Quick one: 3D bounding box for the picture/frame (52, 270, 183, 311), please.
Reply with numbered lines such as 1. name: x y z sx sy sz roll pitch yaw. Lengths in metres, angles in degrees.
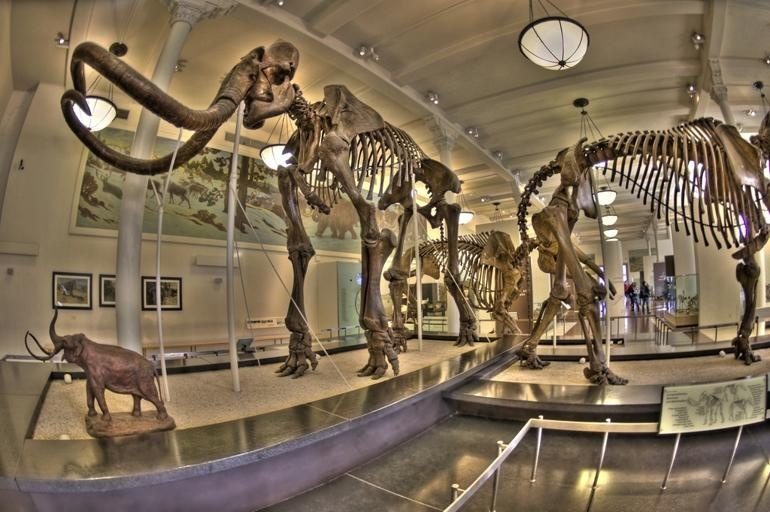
1. picture/frame: -5.506 0.747 9.686 2.250 0.905 0.392 -1 -4 -32
